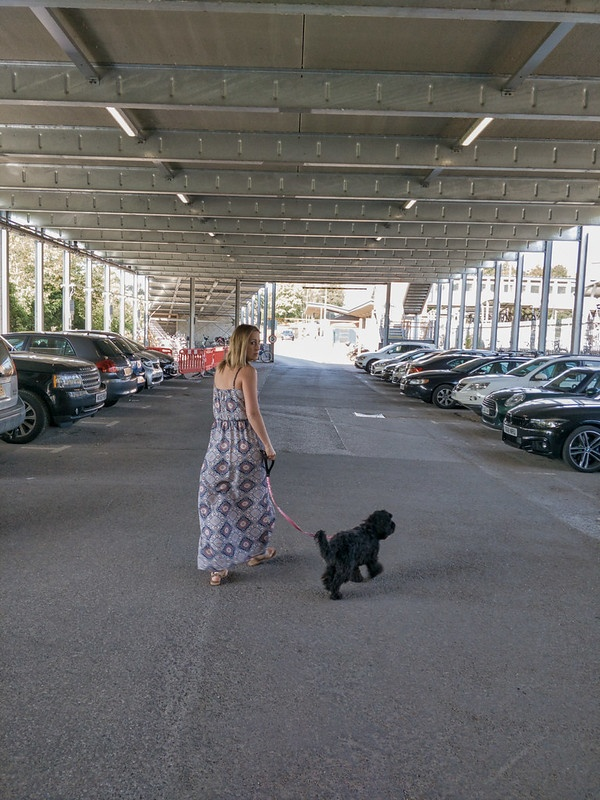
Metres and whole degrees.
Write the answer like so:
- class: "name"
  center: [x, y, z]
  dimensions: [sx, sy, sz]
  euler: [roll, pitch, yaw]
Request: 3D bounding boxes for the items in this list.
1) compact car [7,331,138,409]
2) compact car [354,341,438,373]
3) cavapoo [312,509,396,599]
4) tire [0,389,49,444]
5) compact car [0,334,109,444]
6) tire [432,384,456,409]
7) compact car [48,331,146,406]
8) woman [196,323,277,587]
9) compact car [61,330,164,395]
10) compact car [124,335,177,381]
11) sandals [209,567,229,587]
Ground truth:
- class: "compact car"
  center: [-4.272, -0.717, 12.311]
  dimensions: [2.803, 0.933, 1.212]
  euler: [8, -1, 6]
- class: "compact car"
  center: [4.771, -2.240, 30.585]
  dimensions: [4.209, 1.346, 1.817]
  euler: [0, 3, 11]
- class: "cavapoo"
  center: [0.319, 0.962, 3.892]
  dimensions: [0.252, 0.471, 0.846]
  euler: [8, 8, 35]
- class: "tire"
  center: [-3.697, 0.196, 8.145]
  dimensions: [0.866, 0.780, 0.295]
  euler: [1, 5, 14]
- class: "compact car"
  center: [-3.343, -0.053, 9.184]
  dimensions: [1.894, 0.880, 0.988]
  euler: [5, 4, 7]
- class: "tire"
  center: [3.962, -0.096, 16.581]
  dimensions: [0.621, 0.572, 0.202]
  euler: [-13, -17, 43]
- class: "compact car"
  center: [-4.569, -0.734, 12.505]
  dimensions: [2.466, 0.934, 1.084]
  euler: [3, 1, 7]
- class: "woman"
  center: [-0.394, 0.357, 3.898]
  dimensions: [0.471, 1.643, 0.272]
  euler: [2, 5, -2]
- class: "compact car"
  center: [-5.382, -1.269, 17.648]
  dimensions: [1.656, 1.577, 3.508]
  euler: [-2, 19, -31]
- class: "compact car"
  center: [-5.092, -1.248, 20.764]
  dimensions: [1.781, 0.767, 0.859]
  euler: [0, 6, -7]
- class: "sandals"
  center: [-0.523, 1.134, 3.881]
  dimensions: [0.116, 0.093, 0.323]
  euler: [-1, -2, -2]
